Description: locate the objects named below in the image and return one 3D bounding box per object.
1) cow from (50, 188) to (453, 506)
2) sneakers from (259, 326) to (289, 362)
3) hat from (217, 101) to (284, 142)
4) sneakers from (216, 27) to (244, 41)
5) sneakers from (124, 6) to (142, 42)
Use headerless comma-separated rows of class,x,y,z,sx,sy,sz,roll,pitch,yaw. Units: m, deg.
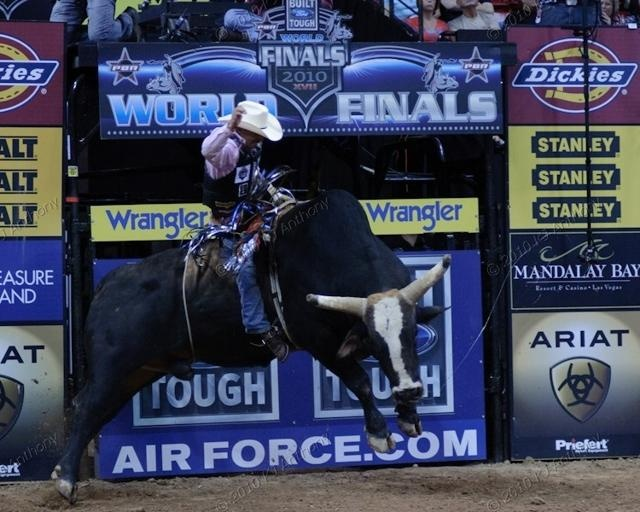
cow,-0.665,0.792,18.830,3.813,2.848,0.962,0,4,21
sneakers,-0.480,0.925,18.905,0.293,0.364,0.294,-1,4,-1
hat,-0.709,-1.336,18.759,0.545,0.219,0.405,21,38,9
sneakers,-1.021,-2.505,20.918,0.261,0.168,0.398,-1,4,5
sneakers,-2.180,-2.668,21.442,0.290,0.354,0.281,-5,10,-15
